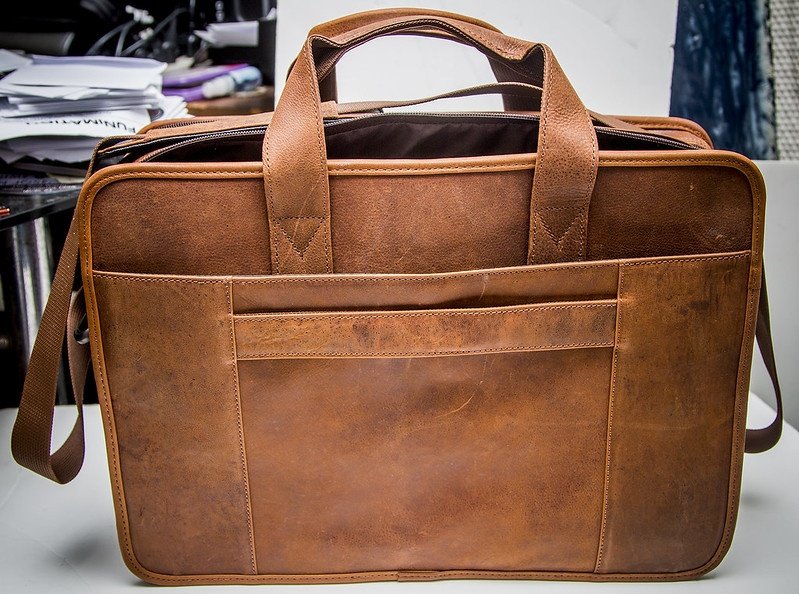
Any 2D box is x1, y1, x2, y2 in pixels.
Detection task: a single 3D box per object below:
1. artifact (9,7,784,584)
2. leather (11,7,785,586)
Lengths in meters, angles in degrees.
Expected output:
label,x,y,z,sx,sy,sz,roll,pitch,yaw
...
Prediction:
label,x,y,z,sx,sy,sz,roll,pitch,yaw
artifact,0.002,0.019,1.177,0.735,0.590,0.306,-1,14,-3
leather,0.004,0.020,1.177,0.736,0.592,0.306,-1,13,-3
